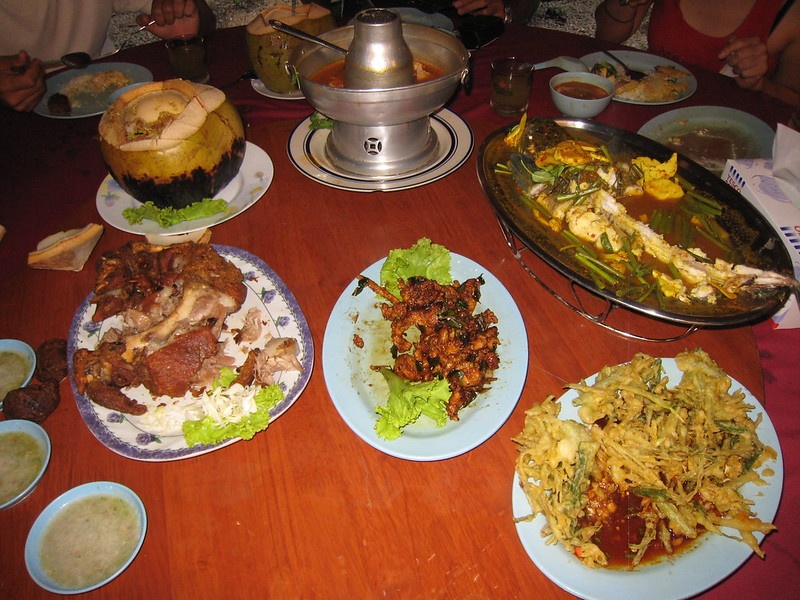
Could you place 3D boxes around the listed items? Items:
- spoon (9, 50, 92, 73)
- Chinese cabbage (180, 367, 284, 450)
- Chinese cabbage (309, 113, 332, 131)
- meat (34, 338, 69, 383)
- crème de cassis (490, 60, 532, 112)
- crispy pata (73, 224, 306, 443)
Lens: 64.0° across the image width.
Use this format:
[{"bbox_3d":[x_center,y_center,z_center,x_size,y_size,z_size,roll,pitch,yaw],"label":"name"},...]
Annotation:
[{"bbox_3d":[-2.226,-1.540,4.121,0.477,0.131,0.208,-2,18,-11],"label":"spoon"},{"bbox_3d":[-0.663,0.464,2.590,0.253,0.097,0.297,17,66,2],"label":"Chinese cabbage"},{"bbox_3d":[-0.450,-0.997,3.585,0.103,0.034,0.107,-9,62,-24],"label":"Chinese cabbage"},{"bbox_3d":[-1.505,0.260,2.755,0.154,0.042,0.165,8,73,-5],"label":"meat"},{"bbox_3d":[0.633,-1.230,3.723,0.254,0.299,0.306,0,46,4],"label":"crème de cassis"},{"bbox_3d":[-0.871,0.198,2.865,0.885,0.782,0.995,21,32,30],"label":"crispy pata"}]
